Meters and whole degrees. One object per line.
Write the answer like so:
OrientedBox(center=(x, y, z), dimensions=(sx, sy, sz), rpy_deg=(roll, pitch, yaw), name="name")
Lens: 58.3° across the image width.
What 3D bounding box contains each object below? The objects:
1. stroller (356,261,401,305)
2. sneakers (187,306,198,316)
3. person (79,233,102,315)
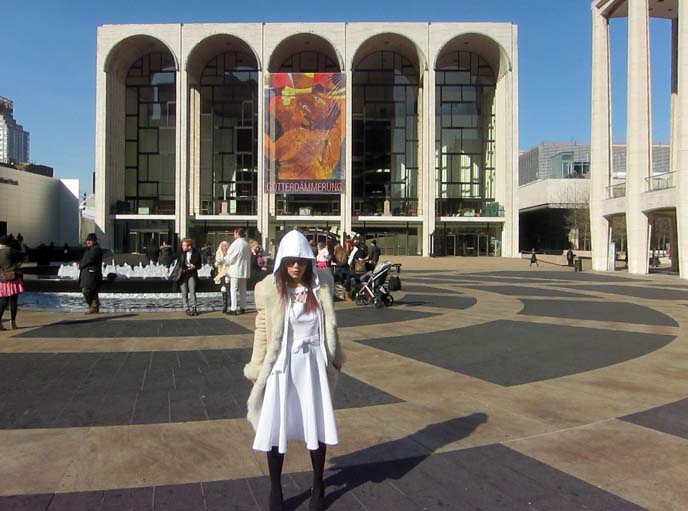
OrientedBox(center=(0.873, 0.718, 16.883), dimensions=(1.208, 1.342, 0.919), rpy_deg=(4, 14, 28), name="stroller")
OrientedBox(center=(-3.659, 1.347, 14.905), dimensions=(0.185, 0.108, 0.265), rpy_deg=(3, 3, -26), name="sneakers")
OrientedBox(center=(-6.017, 0.450, 14.697), dimensions=(0.521, 1.913, 0.844), rpy_deg=(-2, 2, -24), name="person")
